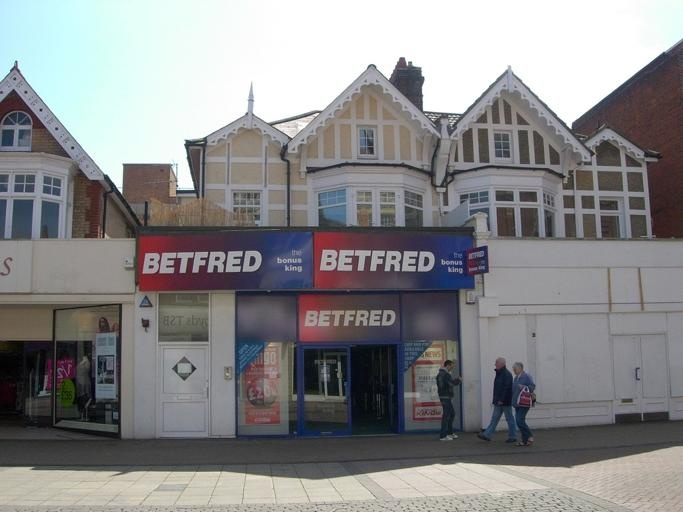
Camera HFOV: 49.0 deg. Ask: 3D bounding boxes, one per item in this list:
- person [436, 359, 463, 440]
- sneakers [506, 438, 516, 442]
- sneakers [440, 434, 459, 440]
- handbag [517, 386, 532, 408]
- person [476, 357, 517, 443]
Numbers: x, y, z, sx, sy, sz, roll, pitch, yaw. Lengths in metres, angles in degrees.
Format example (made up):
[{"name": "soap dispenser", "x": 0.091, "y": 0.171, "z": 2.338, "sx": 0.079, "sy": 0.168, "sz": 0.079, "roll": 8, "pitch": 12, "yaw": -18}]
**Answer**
[{"name": "person", "x": 3.128, "y": 4.159, "z": 21.738, "sx": 0.711, "sy": 2.264, "sz": 1.188, "roll": -3, "pitch": -12, "yaw": 9}, {"name": "sneakers", "x": 4.699, "y": 5.137, "z": 20.797, "sx": 0.290, "sy": 0.127, "sz": 0.106, "roll": 9, "pitch": -10, "yaw": -6}, {"name": "sneakers", "x": 3.077, "y": 5.175, "z": 21.364, "sx": 0.469, "sy": 0.186, "sz": 0.171, "roll": -1, "pitch": -5, "yaw": -5}, {"name": "handbag", "x": 5.049, "y": 3.889, "z": 20.643, "sx": 0.526, "sy": 0.693, "sz": 0.357, "roll": 0, "pitch": -10, "yaw": 6}, {"name": "person", "x": 4.409, "y": 4.047, "z": 21.035, "sx": 0.859, "sy": 2.322, "sz": 0.502, "roll": -6, "pitch": -13, "yaw": 21}]
